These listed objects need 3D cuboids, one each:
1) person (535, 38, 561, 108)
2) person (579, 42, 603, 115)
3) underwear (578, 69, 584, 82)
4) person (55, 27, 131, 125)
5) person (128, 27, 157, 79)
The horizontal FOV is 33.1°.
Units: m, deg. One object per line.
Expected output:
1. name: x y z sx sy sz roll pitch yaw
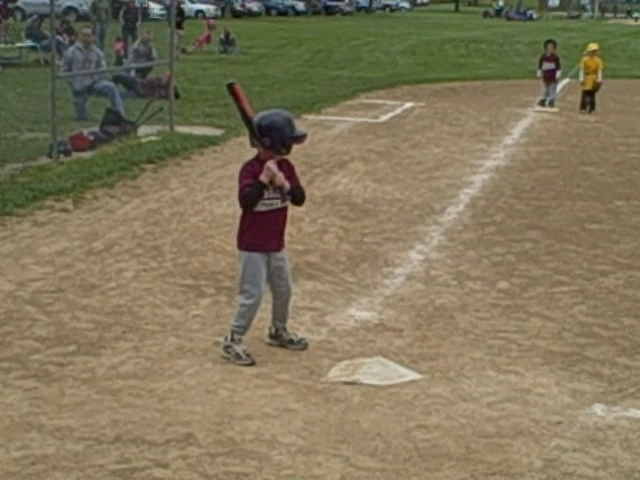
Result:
1. person: 4.504 -3.343 21.427 0.414 1.257 1.094 3 17 11
2. person: 5.162 -3.123 20.751 0.419 1.300 0.736 3 17 12
3. underwear: 5.016 -3.200 20.777 0.083 0.190 0.372 4 16 13
4. person: -4.086 -2.920 18.982 1.136 1.731 1.337 22 32 36
5. person: -3.278 -3.389 19.795 0.528 0.943 0.618 10 23 -4
